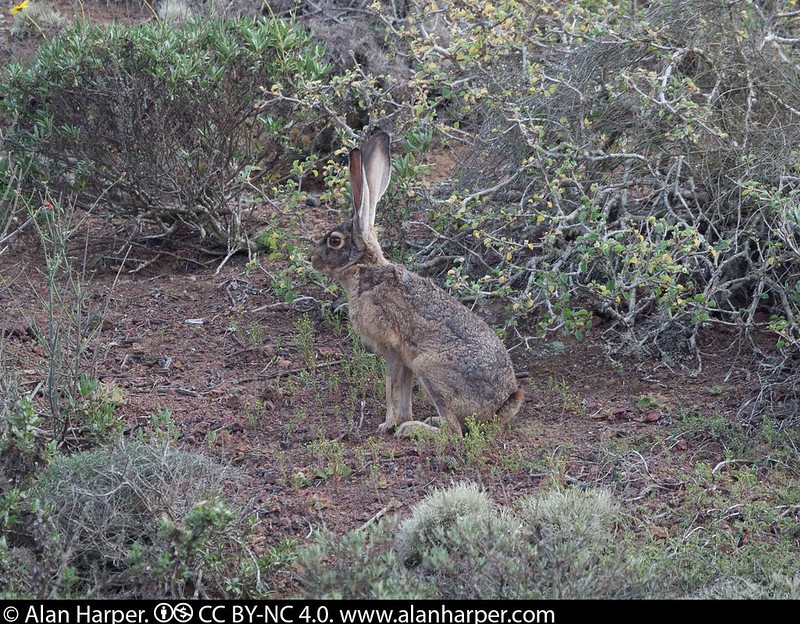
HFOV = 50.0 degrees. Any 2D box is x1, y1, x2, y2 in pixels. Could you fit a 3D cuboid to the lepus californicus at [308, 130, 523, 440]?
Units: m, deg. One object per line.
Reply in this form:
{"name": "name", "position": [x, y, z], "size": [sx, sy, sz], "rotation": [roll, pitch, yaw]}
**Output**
{"name": "lepus californicus", "position": [0.127, -0.159, 6.269], "size": [0.865, 1.960, 1.513], "rotation": [-21, 34, -38]}
